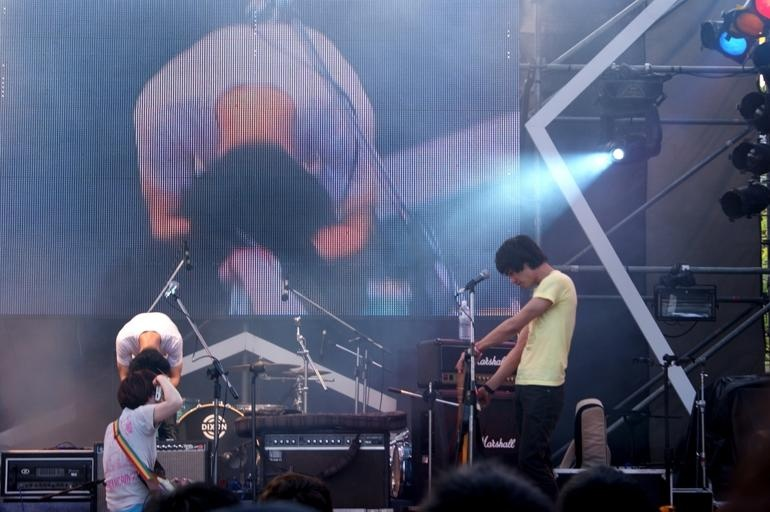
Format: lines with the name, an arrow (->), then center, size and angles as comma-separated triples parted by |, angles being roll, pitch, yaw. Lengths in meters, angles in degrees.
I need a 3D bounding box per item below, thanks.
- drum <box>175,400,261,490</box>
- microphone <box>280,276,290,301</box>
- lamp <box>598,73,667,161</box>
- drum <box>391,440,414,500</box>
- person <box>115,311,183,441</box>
drum -> -1.736, 1.927, 12.961 | 0.897, 1.362, 0.928 | -2, -4, 0
microphone -> -1.031, 0.352, 13.317 | 0.093, 0.240, 0.152 | -2, -10, -5
lamp -> 2.745, -1.547, 14.281 | 0.805, 1.132, 0.842 | -1, -1, -2
drum -> 0.196, 2.228, 12.978 | 0.242, 0.681, 0.546 | 1, -5, -5
person -> -2.394, 1.097, 13.109 | 0.766, 1.092, 1.868 | 11, 5, -8
